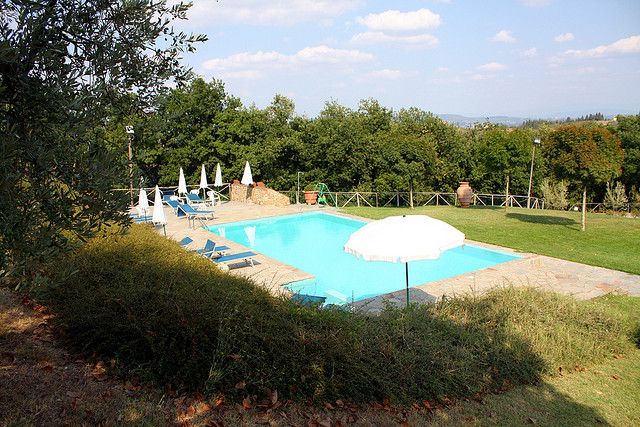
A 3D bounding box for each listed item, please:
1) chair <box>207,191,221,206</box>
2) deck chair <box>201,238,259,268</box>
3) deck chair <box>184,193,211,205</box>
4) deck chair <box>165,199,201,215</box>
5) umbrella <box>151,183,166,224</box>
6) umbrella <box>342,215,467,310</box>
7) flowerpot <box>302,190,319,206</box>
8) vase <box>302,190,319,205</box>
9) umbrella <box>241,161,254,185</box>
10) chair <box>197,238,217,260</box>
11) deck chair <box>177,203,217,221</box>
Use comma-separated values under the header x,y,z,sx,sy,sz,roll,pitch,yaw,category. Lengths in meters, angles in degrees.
x,y,z,sx,sy,sz,roll,pitch,yaw,category
-6.138,-0.965,24.319,0.613,0.820,2.881,2,11,-14,chair
-2.592,1.206,12.040,1.479,0.874,0.713,-6,11,-24,deck chair
-6.481,-0.762,21.285,0.991,0.399,0.557,-1,0,45,deck chair
-7.242,-0.438,20.653,1.724,0.728,1.002,3,7,29,deck chair
-5.962,-0.178,15.371,0.375,1.109,1.755,0,12,-22,umbrella
1.702,0.577,8.835,1.989,2.091,2.011,-6,19,-4,umbrella
-0.560,-0.999,25.934,0.841,0.671,0.857,0,1,0,flowerpot
-0.522,-0.978,25.937,0.880,0.722,0.897,-1,1,-1,vase
-4.278,-2.361,24.763,0.600,1.398,1.347,3,11,-10,umbrella
-3.317,1.051,12.212,0.258,0.482,0.354,31,-2,28,chair
-5.964,-0.087,18.915,2.587,0.921,0.984,1,4,26,deck chair
